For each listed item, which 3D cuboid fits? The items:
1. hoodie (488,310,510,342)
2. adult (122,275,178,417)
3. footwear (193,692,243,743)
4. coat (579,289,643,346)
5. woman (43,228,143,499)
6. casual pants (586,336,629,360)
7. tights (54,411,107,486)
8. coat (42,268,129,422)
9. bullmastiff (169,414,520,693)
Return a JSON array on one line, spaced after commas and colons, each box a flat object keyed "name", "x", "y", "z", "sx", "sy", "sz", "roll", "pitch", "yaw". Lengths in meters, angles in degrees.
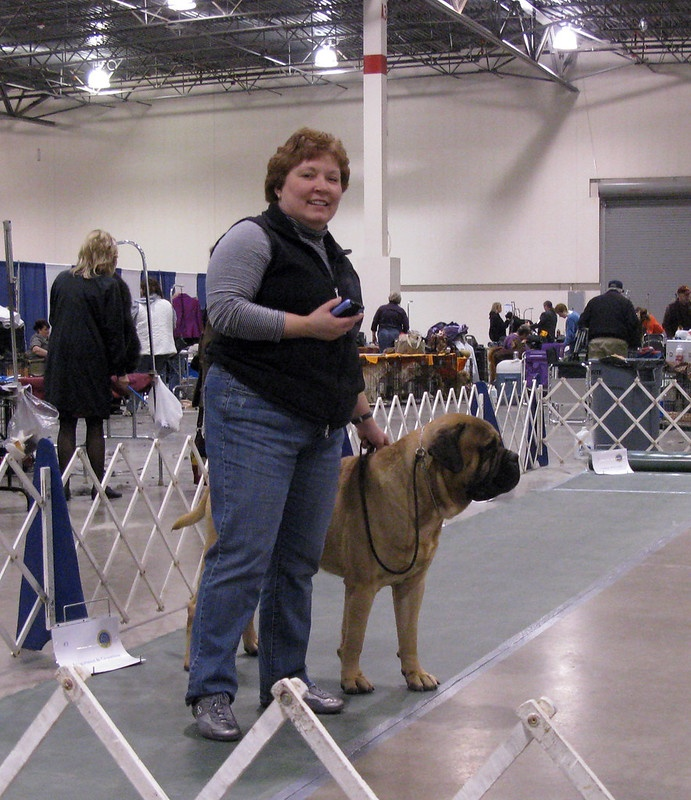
[{"name": "hoodie", "x": 3.657, "y": -1.748, "z": 19.807, "sx": 0.359, "sy": 0.823, "sz": 0.399, "roll": 0, "pitch": 1, "yaw": 20}, {"name": "adult", "x": -2.418, "y": -0.772, "z": 10.631, "sx": 0.603, "sy": 1.519, "sz": 0.544, "roll": -8, "pitch": 17, "yaw": -7}, {"name": "footwear", "x": -0.347, "y": 0.842, "z": 2.173, "sx": 0.073, "sy": 0.086, "sz": 0.182, "roll": -2, "pitch": 0, "yaw": -26}, {"name": "coat", "x": 3.153, "y": -0.989, "z": 9.774, "sx": 0.735, "sy": 0.632, "sz": 0.446, "roll": 4, "pitch": -7, "yaw": 35}, {"name": "woman", "x": -1.707, "y": -0.215, "z": 5.638, "sx": 0.659, "sy": 1.779, "sz": 0.570, "roll": 5, "pitch": 6, "yaw": 16}, {"name": "casual pants", "x": 3.069, "y": -0.600, "z": 9.564, "sx": 0.528, "sy": 0.343, "sz": 0.313, "roll": 0, "pitch": -6, "yaw": 10}, {"name": "tights", "x": -1.775, "y": 0.296, "z": 5.529, "sx": 0.330, "sy": 0.713, "sz": 0.166, "roll": 6, "pitch": 30, "yaw": -9}, {"name": "coat", "x": -1.684, "y": -0.365, "z": 5.486, "sx": 0.565, "sy": 0.984, "sz": 0.287, "roll": 0, "pitch": 1, "yaw": -15}, {"name": "bullmastiff", "x": -0.054, "y": 0.484, "z": 2.634, "sx": 1.203, "sy": 0.842, "sz": 0.380, "roll": -1, "pitch": -2, "yaw": 25}]
